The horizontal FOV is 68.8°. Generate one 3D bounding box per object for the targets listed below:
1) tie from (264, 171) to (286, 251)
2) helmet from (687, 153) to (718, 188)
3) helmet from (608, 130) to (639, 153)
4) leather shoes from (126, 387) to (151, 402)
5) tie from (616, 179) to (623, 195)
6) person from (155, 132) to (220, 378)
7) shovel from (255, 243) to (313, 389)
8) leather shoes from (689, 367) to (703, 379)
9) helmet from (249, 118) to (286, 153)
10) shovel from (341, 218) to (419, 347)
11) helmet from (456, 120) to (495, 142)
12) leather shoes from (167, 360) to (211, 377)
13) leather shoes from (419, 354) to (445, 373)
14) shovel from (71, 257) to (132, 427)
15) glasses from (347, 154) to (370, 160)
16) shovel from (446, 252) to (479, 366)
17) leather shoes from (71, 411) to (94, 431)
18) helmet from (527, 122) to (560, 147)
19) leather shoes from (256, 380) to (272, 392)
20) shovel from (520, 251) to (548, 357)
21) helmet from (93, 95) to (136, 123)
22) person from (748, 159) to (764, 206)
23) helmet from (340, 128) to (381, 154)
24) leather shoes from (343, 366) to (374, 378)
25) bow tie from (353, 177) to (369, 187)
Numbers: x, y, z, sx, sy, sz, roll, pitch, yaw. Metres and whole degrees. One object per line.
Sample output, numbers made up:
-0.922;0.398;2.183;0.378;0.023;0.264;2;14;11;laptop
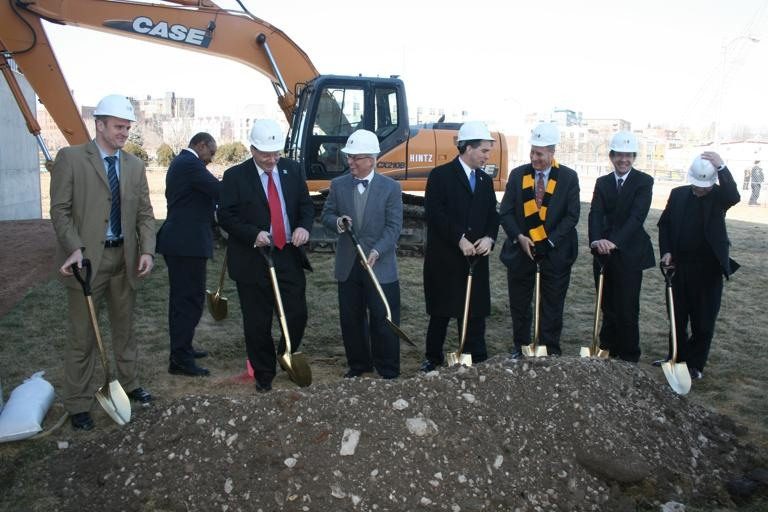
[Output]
-1.044;-0.436;5.396;0.159;0.699;0.263;-3;16;-12;tie
3.308;-0.866;5.851;0.245;0.232;0.354;14;58;31;helmet
2.509;-1.199;5.862;0.216;0.161;0.300;7;18;16;helmet
-2.388;1.340;5.424;0.258;0.112;0.102;0;5;6;leather shoes
2.533;-0.738;6.038;0.041;0.050;0.189;1;58;28;tie
-2.075;-0.016;6.063;0.665;2.456;0.932;1;16;2;person
-0.911;0.692;5.249;0.350;1.486;0.749;-5;17;-18;shovel
3.421;1.287;6.159;0.072;0.076;0.168;-18;5;11;leather shoes
-1.103;-1.120;5.237;0.303;0.297;0.285;-4;16;-15;helmet
-0.040;0.243;5.367;0.331;1.113;0.895;-10;19;-33;shovel
0.908;-1.261;5.771;0.292;0.157;0.245;1;11;36;helmet
-2.119;1.204;6.067;0.446;0.207;0.174;1;0;-6;leather shoes
0.458;1.164;6.071;0.340;0.234;0.113;1;-1;-39;leather shoes
-2.466;0.763;4.962;0.317;1.458;0.782;-12;20;-36;shovel
-0.241;-0.951;5.427;0.225;0.062;0.077;-1;16;-6;glasses
0.817;0.615;5.740;0.268;1.127;0.589;6;17;17;shovel
-2.674;1.465;4.952;0.269;0.118;0.100;-9;-9;41;leather shoes
1.687;-1.276;5.915;0.293;0.237;0.315;5;16;13;helmet
-1.182;1.263;5.459;0.117;0.085;0.120;0;-2;18;leather shoes
1.628;0.569;5.946;0.276;0.999;0.855;5;16;15;shovel
-2.353;-1.285;4.901;0.321;0.222;0.341;-10;19;-33;helmet
13.919;-2.742;21.015;0.412;1.578;2.783;11;18;32;person
-0.222;-1.063;5.380;0.304;0.177;0.239;-9;36;-43;helmet
-0.264;1.192;5.737;0.344;0.151;0.117;2;1;-8;leather shoes
-0.230;-0.733;5.586;0.085;0.088;0.026;3;12;9;bow tie
